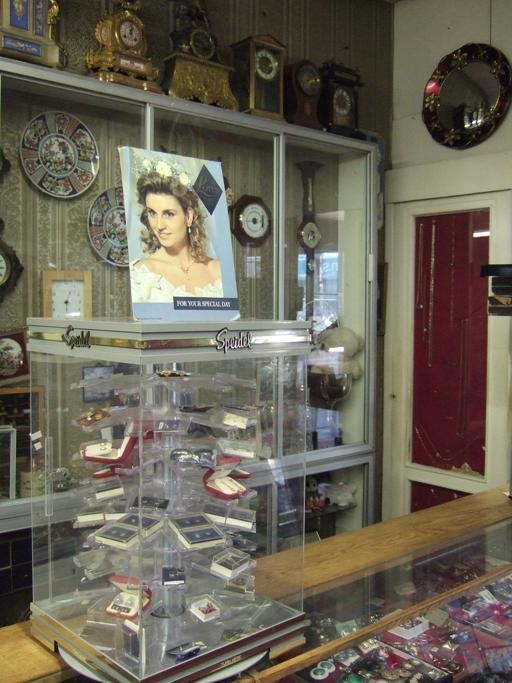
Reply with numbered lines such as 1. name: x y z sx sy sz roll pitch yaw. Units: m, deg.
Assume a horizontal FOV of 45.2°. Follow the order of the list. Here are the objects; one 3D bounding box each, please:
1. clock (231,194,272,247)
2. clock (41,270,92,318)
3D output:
1. clock: -0.016 -0.510 2.571 0.035 0.219 0.253 3 2 36
2. clock: -0.637 -0.163 2.046 0.203 0.140 0.020 7 5 -42
